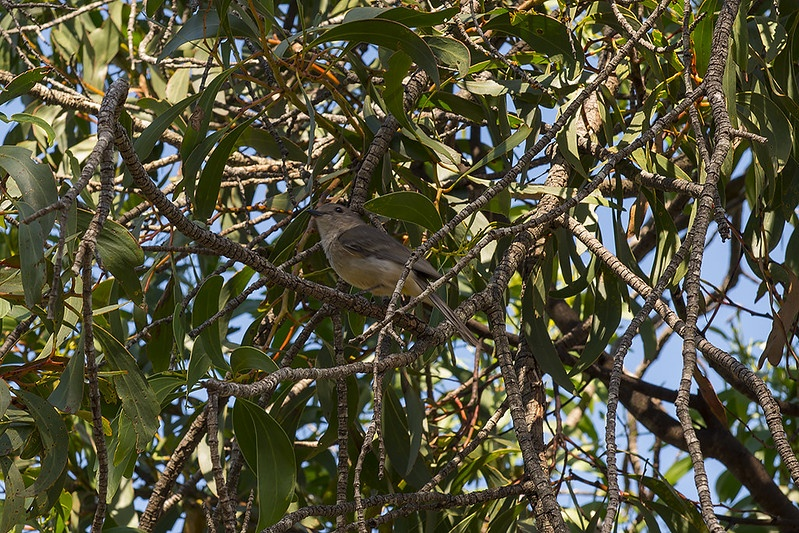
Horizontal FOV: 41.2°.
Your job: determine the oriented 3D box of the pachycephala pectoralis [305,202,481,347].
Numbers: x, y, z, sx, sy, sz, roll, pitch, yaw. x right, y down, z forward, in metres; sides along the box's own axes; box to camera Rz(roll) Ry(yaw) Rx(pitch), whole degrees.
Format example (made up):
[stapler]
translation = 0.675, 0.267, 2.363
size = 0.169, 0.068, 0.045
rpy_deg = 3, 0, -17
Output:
[pachycephala pectoralis]
translation = -0.032, 0.025, 5.490
size = 0.771, 0.356, 0.226
rpy_deg = 33, -56, -15
